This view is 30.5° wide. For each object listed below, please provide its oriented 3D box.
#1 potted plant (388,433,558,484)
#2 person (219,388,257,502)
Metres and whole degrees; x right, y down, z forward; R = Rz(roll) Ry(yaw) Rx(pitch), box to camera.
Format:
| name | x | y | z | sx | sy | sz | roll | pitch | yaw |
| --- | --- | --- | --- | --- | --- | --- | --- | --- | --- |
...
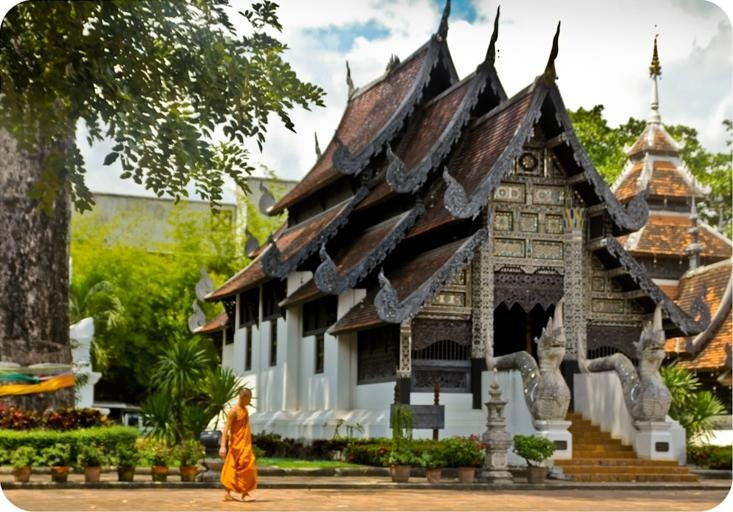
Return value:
| name | x | y | z | sx | sy | sz | roll | pitch | yaw |
| --- | --- | --- | --- | --- | --- | --- | --- | --- | --- |
| potted plant | 2.043 | 4.216 | 27.848 | 3.456 | 0.998 | 0.768 | -1 | -11 | -1 |
| person | -2.380 | 3.479 | 24.925 | 0.657 | 2.082 | 0.784 | 1 | -11 | -7 |
